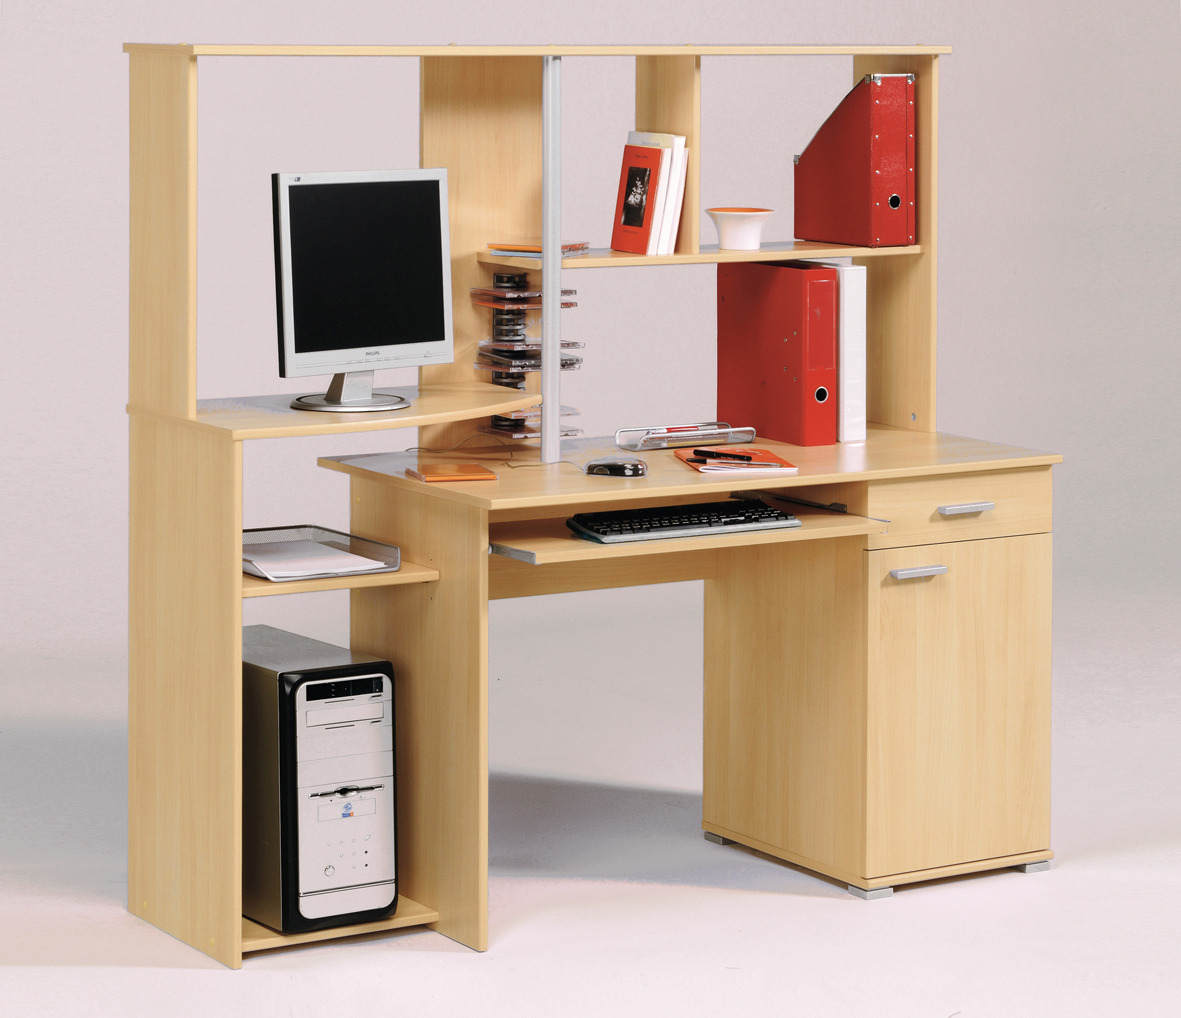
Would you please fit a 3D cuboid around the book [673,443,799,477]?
[{"bbox_3d":[0.306,-0.104,2.812,0.244,0.050,0.344,0,4,3],"label":"book"}]

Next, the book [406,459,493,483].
[{"bbox_3d":[-0.284,-0.077,2.636,0.165,0.032,0.231,-1,4,-10],"label":"book"}]

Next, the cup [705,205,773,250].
[{"bbox_3d":[0.343,-0.672,3.084,0.139,0.068,0.124,0,4,-4],"label":"cup"}]

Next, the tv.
[{"bbox_3d":[-0.452,-0.480,2.628,0.421,0.421,0.061,-4,6,-43],"label":"tv"}]

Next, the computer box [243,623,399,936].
[{"bbox_3d":[-0.544,0.549,2.655,0.310,0.527,0.364,-2,5,-26],"label":"computer box"}]
